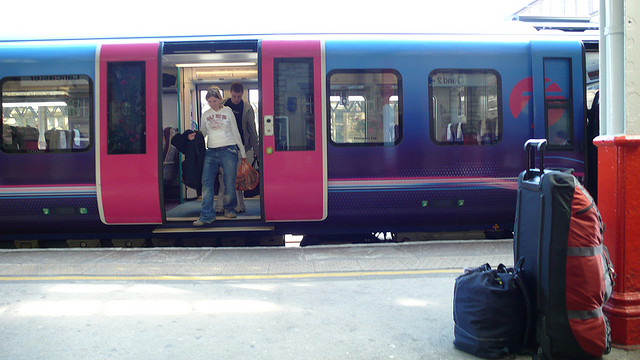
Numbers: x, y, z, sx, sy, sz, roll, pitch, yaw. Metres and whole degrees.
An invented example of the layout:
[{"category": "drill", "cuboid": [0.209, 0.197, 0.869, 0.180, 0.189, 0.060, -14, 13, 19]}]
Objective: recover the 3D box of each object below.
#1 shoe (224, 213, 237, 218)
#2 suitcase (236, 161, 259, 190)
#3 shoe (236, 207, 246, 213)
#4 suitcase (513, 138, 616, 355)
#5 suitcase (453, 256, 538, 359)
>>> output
[{"category": "shoe", "cuboid": [-1.642, 0.650, 9.366, 0.176, 0.072, 0.065, 3, 9, 4]}, {"category": "suitcase", "cuboid": [-1.325, -0.078, 9.263, 0.405, 0.534, 0.204, -2, 9, -10]}, {"category": "shoe", "cuboid": [-1.549, 0.584, 10.044, 0.221, 0.065, 0.213, -6, 11, -28]}, {"category": "suitcase", "cuboid": [2.636, 0.746, 5.544, 1.013, 2.286, 0.568, 2, 9, 21]}, {"category": "suitcase", "cuboid": [1.848, 1.470, 6.014, 1.051, 1.055, 0.827, 0, 0, 7]}]
